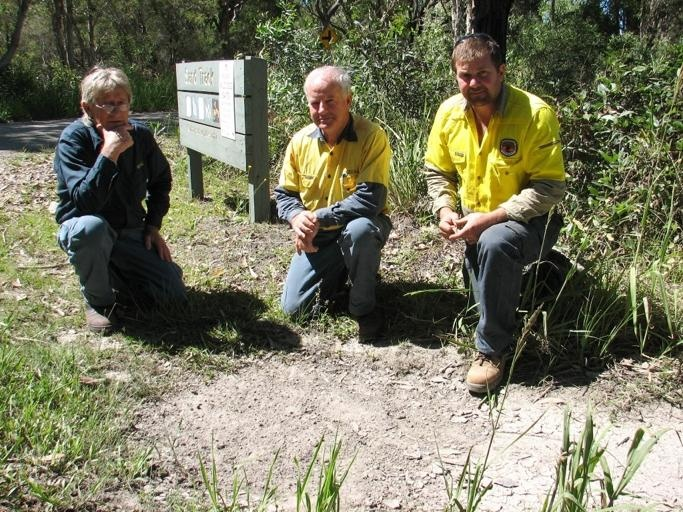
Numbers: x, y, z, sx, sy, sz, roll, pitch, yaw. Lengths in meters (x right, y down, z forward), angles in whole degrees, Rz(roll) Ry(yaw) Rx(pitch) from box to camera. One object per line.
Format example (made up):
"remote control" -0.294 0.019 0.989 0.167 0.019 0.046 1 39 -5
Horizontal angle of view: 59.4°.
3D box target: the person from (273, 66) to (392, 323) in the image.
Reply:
"person" -0.062 -0.464 4.377 0.855 1.787 0.550 1 12 8

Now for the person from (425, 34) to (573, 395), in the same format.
"person" 0.937 -0.319 3.911 0.746 2.177 0.795 -8 14 -33

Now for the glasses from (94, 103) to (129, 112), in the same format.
"glasses" -1.567 -1.022 4.106 0.223 0.077 0.095 -6 13 -23

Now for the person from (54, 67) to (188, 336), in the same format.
"person" -1.606 -0.430 4.301 0.831 1.792 0.616 -7 13 -28

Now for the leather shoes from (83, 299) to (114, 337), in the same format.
"leather shoes" -1.693 0.440 4.188 0.121 0.136 0.328 -3 9 -32

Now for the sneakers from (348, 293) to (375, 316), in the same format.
"sneakers" 0.149 0.318 4.293 0.186 0.267 0.125 1 12 8
